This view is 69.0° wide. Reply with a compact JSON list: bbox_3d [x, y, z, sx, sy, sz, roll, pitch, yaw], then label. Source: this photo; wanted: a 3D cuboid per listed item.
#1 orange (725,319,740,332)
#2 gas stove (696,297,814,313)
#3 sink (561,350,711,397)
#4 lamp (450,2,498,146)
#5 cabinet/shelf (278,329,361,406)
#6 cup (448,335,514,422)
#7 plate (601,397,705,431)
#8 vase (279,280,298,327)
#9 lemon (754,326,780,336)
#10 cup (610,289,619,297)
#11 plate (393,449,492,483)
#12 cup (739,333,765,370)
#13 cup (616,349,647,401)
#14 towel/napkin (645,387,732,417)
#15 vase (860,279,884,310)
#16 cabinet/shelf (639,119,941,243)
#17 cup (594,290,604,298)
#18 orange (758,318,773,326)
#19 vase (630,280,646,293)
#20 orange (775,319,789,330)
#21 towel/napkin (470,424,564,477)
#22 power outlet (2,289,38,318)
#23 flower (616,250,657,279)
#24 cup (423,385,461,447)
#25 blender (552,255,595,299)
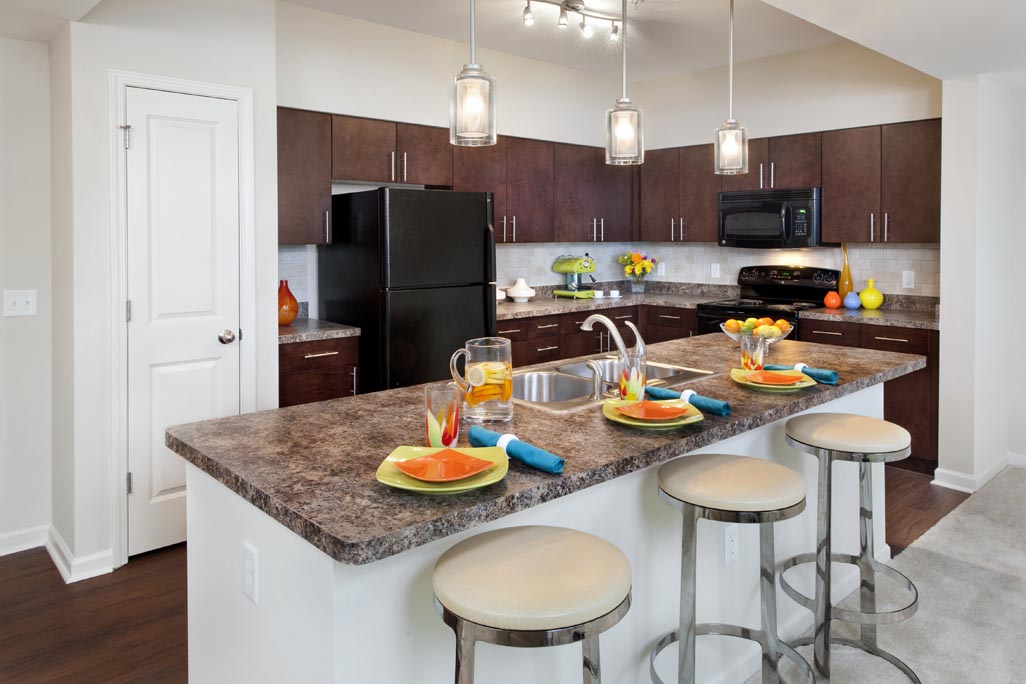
[{"bbox_3d":[1.070,-0.082,3.617,0.060,0.033,0.048,-3,0,-44],"label":"orange"},{"bbox_3d":[1.927,-0.286,5.959,0.871,0.073,0.435,7,16,28],"label":"gas stove"},{"bbox_3d":[0.632,0.150,3.726,0.316,0.131,0.374,-6,8,-45],"label":"sink"},{"bbox_3d":[-0.173,-1.000,3.136,0.190,0.325,0.087,-2,14,-5],"label":"lamp"},{"bbox_3d":[-1.237,0.093,4.839,0.633,0.592,0.418,-2,4,-36],"label":"cabinet/shelf"},{"bbox_3d":[-0.126,0.142,3.053,0.236,0.333,0.182,-1,14,-2],"label":"cup"},{"bbox_3d":[0.567,0.285,3.071,0.420,0.071,0.245,2,14,11],"label":"plate"},{"bbox_3d":[-1.526,-0.271,5.023,0.114,0.296,0.402,-5,14,-14],"label":"vase"},{"bbox_3d":[1.214,-0.050,3.554,0.107,0.045,0.053,0,0,-44],"label":"lemon"},{"bbox_3d":[0.928,-0.446,6.804,0.083,0.107,0.085,2,5,0],"label":"cup"},{"bbox_3d":[-0.242,0.429,2.599,0.320,0.056,0.181,-6,15,-19],"label":"plate"},{"bbox_3d":[1.132,0.030,3.583,0.094,0.175,0.159,-9,16,-30],"label":"cup"},{"bbox_3d":[0.509,0.137,3.222,0.094,0.219,0.113,5,15,23],"label":"cup"},{"bbox_3d":[0.735,0.259,3.142,0.388,0.096,0.100,8,-6,40],"label":"towel/napkin"},{"bbox_3d":[2.754,-0.377,5.743,0.187,0.214,0.256,6,15,25],"label":"vase"},{"bbox_3d":[2.161,-1.246,5.946,2.232,0.940,0.527,7,16,29],"label":"cabinet/shelf"},{"bbox_3d":[0.765,-0.431,6.649,0.071,0.051,0.072,0,2,0],"label":"cup"},{"bbox_3d":[1.227,-0.103,3.630,0.039,0.047,0.103,14,5,8],"label":"orange"},{"bbox_3d":[1.197,-0.535,7.192,0.181,0.171,0.099,3,10,16],"label":"vase"},{"bbox_3d":[1.318,-0.086,3.676,0.051,0.051,0.066,-8,3,-25],"label":"orange"},{"bbox_3d":[0.017,0.388,2.696,0.457,0.117,0.115,10,10,43],"label":"towel/napkin"},{"bbox_3d":[-2.766,-0.223,4.162,0.171,0.166,0.022,0,1,-35],"label":"power outlet"},{"bbox_3d":[1.162,-0.720,7.052,0.337,0.265,0.260,3,14,14],"label":"flower"},{"bbox_3d":[-0.265,0.272,2.788,0.118,0.228,0.154,-4,14,-12],"label":"cup"},{"bbox_3d":[0.550,-0.594,6.708,0.377,0.379,0.377,3,8,18],"label":"blender"}]
